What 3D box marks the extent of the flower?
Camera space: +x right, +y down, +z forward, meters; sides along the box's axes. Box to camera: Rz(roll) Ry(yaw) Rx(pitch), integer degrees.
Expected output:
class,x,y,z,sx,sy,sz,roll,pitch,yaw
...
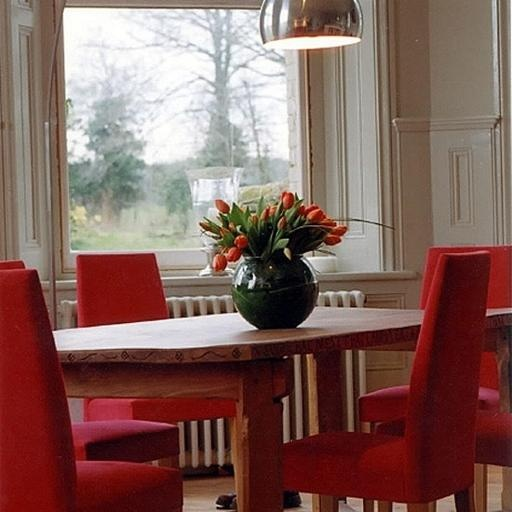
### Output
class,x,y,z,sx,sy,sz,roll,pitch,yaw
flower,0.112,-0.045,2.022,0.482,0.230,0.358,-5,-8,15
